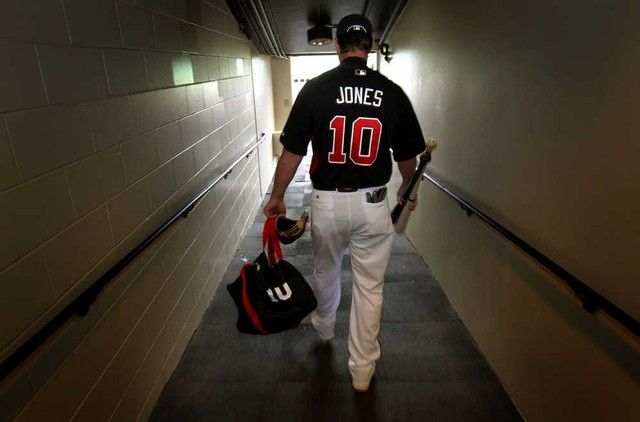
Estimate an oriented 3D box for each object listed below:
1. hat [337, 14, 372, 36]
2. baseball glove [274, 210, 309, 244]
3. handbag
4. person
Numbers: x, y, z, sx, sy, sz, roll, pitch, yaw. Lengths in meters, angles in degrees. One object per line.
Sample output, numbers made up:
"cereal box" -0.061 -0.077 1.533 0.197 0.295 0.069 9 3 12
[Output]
"hat" 0.189 -1.186 2.411 0.186 0.142 0.271 2 28 0
"baseball glove" -0.183 0.113 2.669 0.109 0.165 0.367 5 22 11
"handbag" -0.352 0.628 2.780 0.519 0.614 0.298 -10 6 5
"person" 0.171 -0.075 2.685 0.991 2.394 1.008 2 16 5
